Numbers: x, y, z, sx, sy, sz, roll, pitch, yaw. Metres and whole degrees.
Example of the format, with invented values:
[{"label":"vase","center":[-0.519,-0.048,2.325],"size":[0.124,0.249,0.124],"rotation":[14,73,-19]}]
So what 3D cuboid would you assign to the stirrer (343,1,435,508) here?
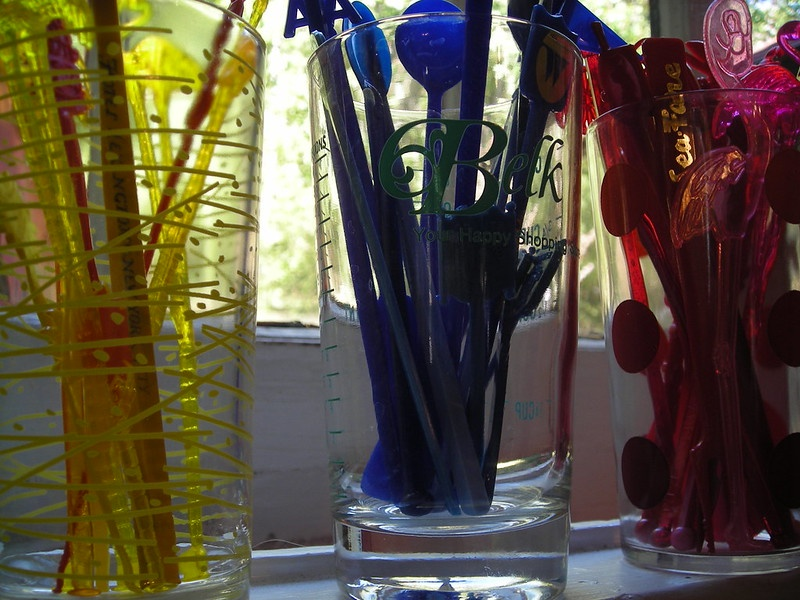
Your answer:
[{"label":"stirrer","center":[-0.011,-0.021,0.540],"size":[0.056,0.299,0.013],"rotation":[-3,-2,29]}]

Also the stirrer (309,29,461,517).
[{"label":"stirrer","center":[-0.016,-0.015,0.498],"size":[0.069,0.243,0.027],"rotation":[-7,3,4]}]

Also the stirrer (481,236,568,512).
[{"label":"stirrer","center":[0.084,0.028,0.564],"size":[0.021,0.207,0.028],"rotation":[3,-10,38]}]
